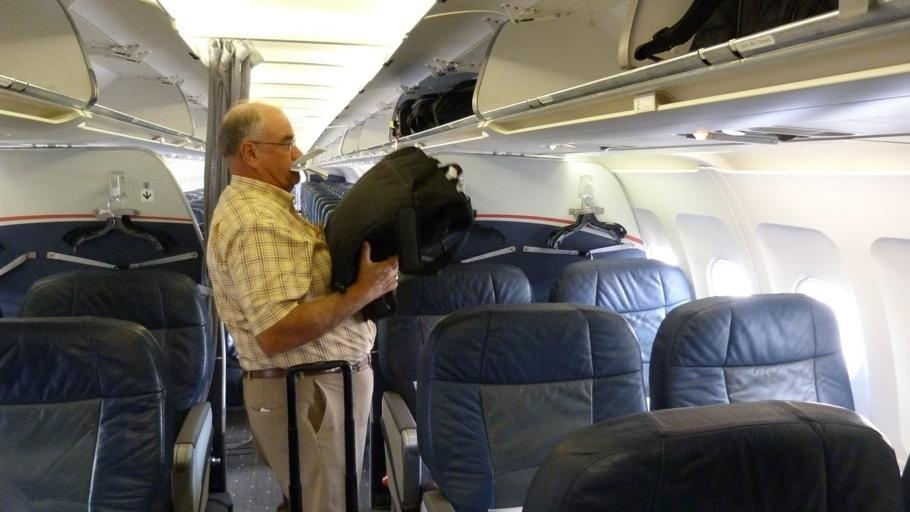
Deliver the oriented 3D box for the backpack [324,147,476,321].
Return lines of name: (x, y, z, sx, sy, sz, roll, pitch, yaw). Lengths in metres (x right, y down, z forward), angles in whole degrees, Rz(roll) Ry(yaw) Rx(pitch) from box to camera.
backpack: (-0.305, -0.200, 3.368, 0.759, 0.730, 0.411, 0, -15, -10)

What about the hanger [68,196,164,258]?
hanger: (-2.672, -0.236, 4.996, 0.833, 0.442, 0.356, 0, 1, 2)

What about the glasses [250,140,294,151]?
glasses: (-1.005, -0.624, 3.474, 0.216, 0.035, 0.039, 4, -15, -23)
